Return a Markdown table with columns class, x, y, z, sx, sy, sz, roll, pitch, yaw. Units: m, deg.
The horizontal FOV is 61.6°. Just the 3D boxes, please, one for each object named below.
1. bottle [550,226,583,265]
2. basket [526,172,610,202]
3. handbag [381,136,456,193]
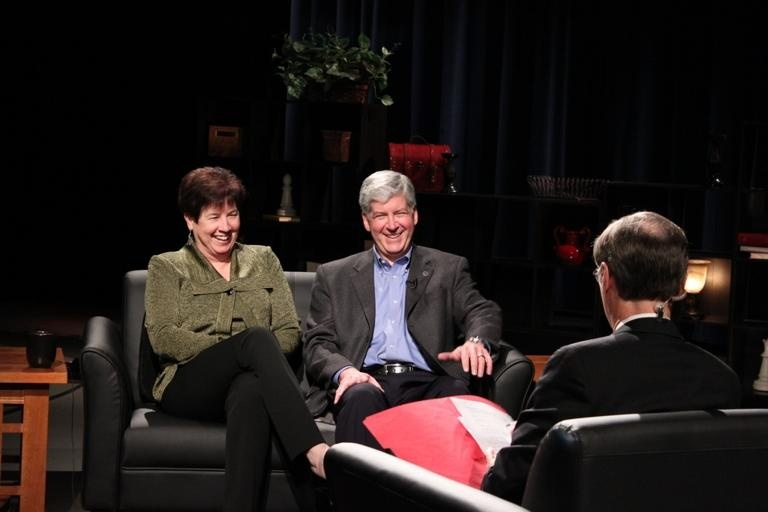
| class | x | y | z | sx | sy | sz | roll | pitch | yaw |
| --- | --- | --- | --- | --- | --- | --- | --- | --- | --- |
| bottle | 1.292 | -0.067 | 4.523 | 0.256 | 0.276 | 0.177 | 0 | -11 | 1 |
| basket | 1.304 | -0.470 | 4.512 | 0.371 | 0.114 | 0.276 | 1 | 0 | 6 |
| handbag | 0.256 | -0.595 | 4.365 | 0.435 | 0.377 | 0.334 | -1 | 1 | -15 |
